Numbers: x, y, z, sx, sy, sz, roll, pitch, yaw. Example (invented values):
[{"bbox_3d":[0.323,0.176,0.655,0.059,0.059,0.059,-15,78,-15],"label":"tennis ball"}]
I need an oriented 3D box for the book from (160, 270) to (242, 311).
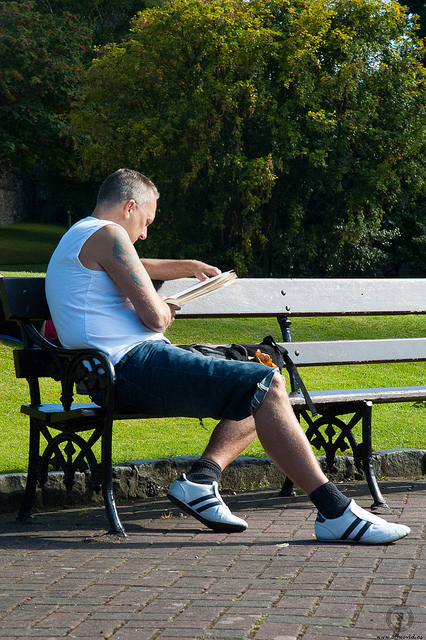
[{"bbox_3d":[-0.062,-0.133,4.106,0.236,0.062,0.233,-20,19,-27],"label":"book"}]

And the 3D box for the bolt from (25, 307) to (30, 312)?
[{"bbox_3d":[-0.748,-0.038,3.958,0.023,0.022,0.005,2,0,-34],"label":"bolt"}]

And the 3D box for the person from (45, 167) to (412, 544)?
[{"bbox_3d":[-0.111,0.116,3.749,0.720,1.433,1.293,-6,5,-35],"label":"person"}]

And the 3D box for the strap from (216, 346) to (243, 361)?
[{"bbox_3d":[0.080,0.139,4.007,0.074,0.019,0.057,14,13,36],"label":"strap"}]

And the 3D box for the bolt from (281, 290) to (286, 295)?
[{"bbox_3d":[0.337,-0.126,4.599,0.018,0.016,0.018,-6,-9,24],"label":"bolt"}]

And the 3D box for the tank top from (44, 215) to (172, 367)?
[{"bbox_3d":[-0.431,-0.204,3.907,0.568,0.599,0.561,6,20,19],"label":"tank top"}]

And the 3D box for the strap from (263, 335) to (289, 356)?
[{"bbox_3d":[0.269,0.111,4.194,0.088,0.034,0.089,40,4,20],"label":"strap"}]

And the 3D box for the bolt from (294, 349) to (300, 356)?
[{"bbox_3d":[0.395,0.158,4.526,0.022,0.021,0.013,-2,-9,-9],"label":"bolt"}]

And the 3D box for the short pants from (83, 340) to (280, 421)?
[{"bbox_3d":[-0.049,0.214,3.804,0.596,0.213,0.657,3,14,3],"label":"short pants"}]

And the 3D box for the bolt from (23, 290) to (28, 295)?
[{"bbox_3d":[-0.755,-0.108,3.958,0.015,0.018,0.015,21,46,40],"label":"bolt"}]
